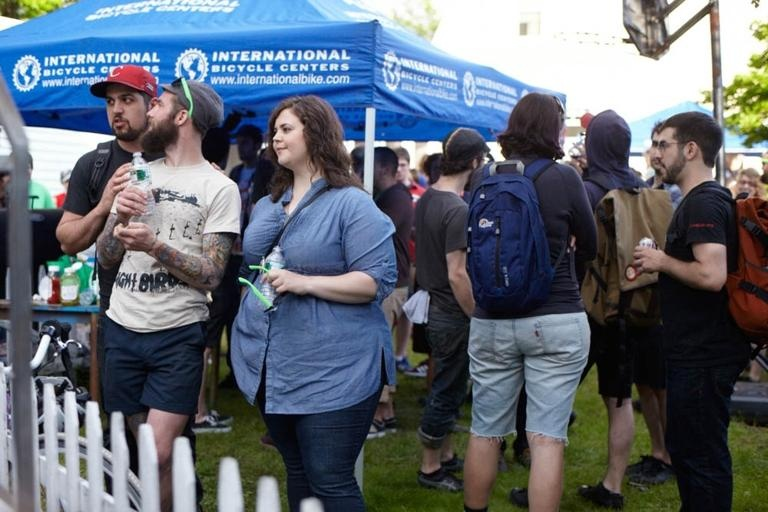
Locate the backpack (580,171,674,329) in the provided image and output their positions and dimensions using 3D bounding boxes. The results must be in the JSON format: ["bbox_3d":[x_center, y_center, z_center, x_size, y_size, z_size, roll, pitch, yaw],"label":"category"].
[{"bbox_3d":[1.791,0.010,5.942,0.650,0.863,0.439,0,0,11],"label":"backpack"}]

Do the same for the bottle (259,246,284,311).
[{"bbox_3d":[-0.672,0.123,4.729,0.159,0.358,0.157,0,0,0],"label":"bottle"}]

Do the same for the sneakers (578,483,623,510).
[{"bbox_3d":[1.622,1.786,6.087,0.326,0.146,0.133,16,18,43],"label":"sneakers"}]

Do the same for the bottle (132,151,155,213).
[{"bbox_3d":[-1.466,-0.439,4.931,0.137,0.376,0.207,0,0,-24],"label":"bottle"}]

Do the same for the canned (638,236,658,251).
[{"bbox_3d":[1.814,-0.088,5.592,0.136,0.075,0.099,15,11,-46],"label":"canned"}]

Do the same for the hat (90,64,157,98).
[{"bbox_3d":[-1.657,-1.131,5.218,0.322,0.162,0.228,9,-5,-44],"label":"hat"}]

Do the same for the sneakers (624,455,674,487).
[{"bbox_3d":[2.115,1.717,6.426,0.439,0.191,0.260,2,13,8],"label":"sneakers"}]

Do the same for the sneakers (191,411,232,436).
[{"bbox_3d":[-1.590,1.532,7.426,0.326,0.138,0.189,-3,1,23],"label":"sneakers"}]
